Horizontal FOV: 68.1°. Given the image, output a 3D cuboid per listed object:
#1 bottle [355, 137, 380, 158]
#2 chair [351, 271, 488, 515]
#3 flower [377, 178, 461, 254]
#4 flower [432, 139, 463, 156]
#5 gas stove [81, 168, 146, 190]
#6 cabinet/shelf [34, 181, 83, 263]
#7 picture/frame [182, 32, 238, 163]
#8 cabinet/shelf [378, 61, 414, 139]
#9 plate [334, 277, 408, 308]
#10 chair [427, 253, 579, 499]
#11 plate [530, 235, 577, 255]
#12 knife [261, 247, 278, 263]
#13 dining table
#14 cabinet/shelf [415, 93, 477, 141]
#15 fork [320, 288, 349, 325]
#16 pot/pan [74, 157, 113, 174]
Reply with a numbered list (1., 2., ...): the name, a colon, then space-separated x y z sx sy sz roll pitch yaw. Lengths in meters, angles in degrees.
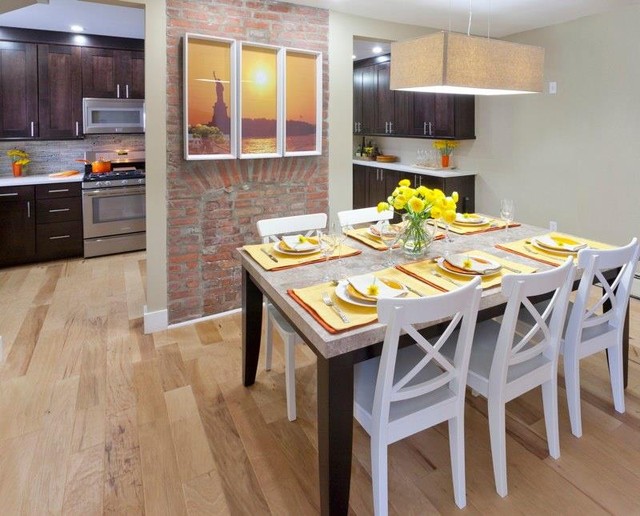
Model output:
1. bottle: 0.674 -1.648 7.040 0.220 0.309 0.570 -12 21 -36
2. chair: 0.467 0.628 2.263 0.631 1.131 0.449 -6 17 -21
3. flower: 0.592 -0.225 2.891 0.439 0.424 0.506 -4 -12 16
4. flower: 1.516 -1.337 5.662 0.270 0.166 0.240 11 20 31
5. gas stove: -2.385 -0.896 5.447 0.670 0.143 0.272 -10 20 -29
6. cabinet/shelf: -3.028 -0.566 5.354 0.530 0.978 0.633 -6 38 -35
7. picture/frame: -0.835 -1.196 3.561 0.374 0.866 0.051 2 14 0
8. cabinet/shelf: 1.004 -2.015 6.087 0.286 0.950 0.499 -9 20 -1
9. plate: 0.231 0.158 2.293 0.190 0.047 0.182 -22 27 -40
10. chair: 0.948 0.531 2.596 0.533 1.151 0.678 -13 18 -30
11. plate: 1.438 -0.086 2.845 0.145 0.039 0.154 -10 17 -16
12. knife: -0.296 -0.015 2.776 0.038 0.020 0.231 -10 23 -18
13. dining table: 0.162 0.457 2.717 1.924 1.066 1.334 -7 11 -34
14. cabinet/shelf: 1.364 -1.709 5.490 0.323 0.651 0.619 -9 17 -41
15. fork: 0.065 0.229 2.198 0.046 0.046 0.294 -2 33 -17
16. pot/pan: -2.715 -1.115 5.688 0.350 0.157 0.212 5 9 25
